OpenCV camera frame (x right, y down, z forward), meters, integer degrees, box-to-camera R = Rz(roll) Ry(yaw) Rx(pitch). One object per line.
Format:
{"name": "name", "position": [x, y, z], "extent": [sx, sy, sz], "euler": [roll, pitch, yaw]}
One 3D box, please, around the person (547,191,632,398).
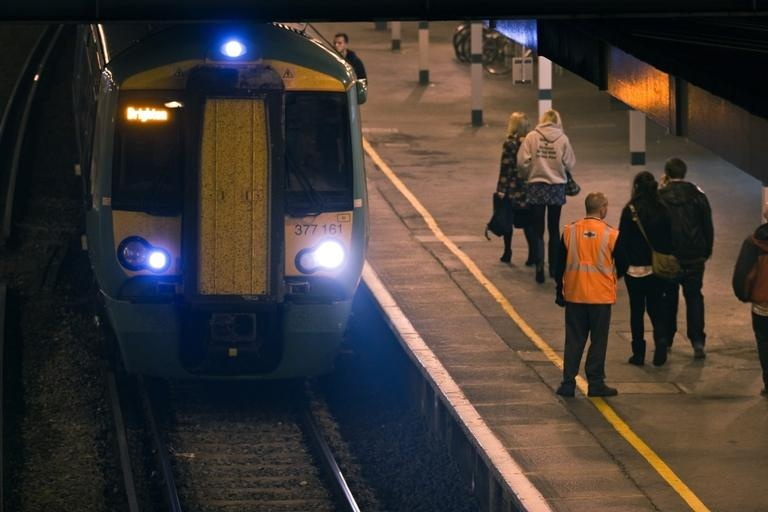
{"name": "person", "position": [2.363, 0.582, 11.556], "extent": [0.730, 2.047, 0.421], "euler": [1, 13, 8]}

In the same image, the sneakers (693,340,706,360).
{"name": "sneakers", "position": [4.019, 1.187, 12.690], "extent": [0.102, 0.132, 0.292], "euler": [0, -28, 4]}

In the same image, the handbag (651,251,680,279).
{"name": "handbag", "position": [3.438, 0.099, 12.202], "extent": [0.345, 0.333, 0.170], "euler": [1, 12, 10]}

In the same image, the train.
{"name": "train", "position": [-1.824, -0.596, 11.821], "extent": [3.177, 4.188, 1.225], "euler": [-2, 13, -6]}

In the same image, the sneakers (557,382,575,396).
{"name": "sneakers", "position": [2.130, 1.535, 11.605], "extent": [0.122, 0.193, 0.211], "euler": [-2, 17, -10]}

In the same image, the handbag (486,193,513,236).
{"name": "handbag", "position": [1.870, -0.667, 15.628], "extent": [0.438, 0.600, 0.177], "euler": [3, 22, 13]}

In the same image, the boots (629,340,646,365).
{"name": "boots", "position": [3.184, 1.189, 12.459], "extent": [0.185, 0.303, 0.328], "euler": [-1, 16, -2]}
